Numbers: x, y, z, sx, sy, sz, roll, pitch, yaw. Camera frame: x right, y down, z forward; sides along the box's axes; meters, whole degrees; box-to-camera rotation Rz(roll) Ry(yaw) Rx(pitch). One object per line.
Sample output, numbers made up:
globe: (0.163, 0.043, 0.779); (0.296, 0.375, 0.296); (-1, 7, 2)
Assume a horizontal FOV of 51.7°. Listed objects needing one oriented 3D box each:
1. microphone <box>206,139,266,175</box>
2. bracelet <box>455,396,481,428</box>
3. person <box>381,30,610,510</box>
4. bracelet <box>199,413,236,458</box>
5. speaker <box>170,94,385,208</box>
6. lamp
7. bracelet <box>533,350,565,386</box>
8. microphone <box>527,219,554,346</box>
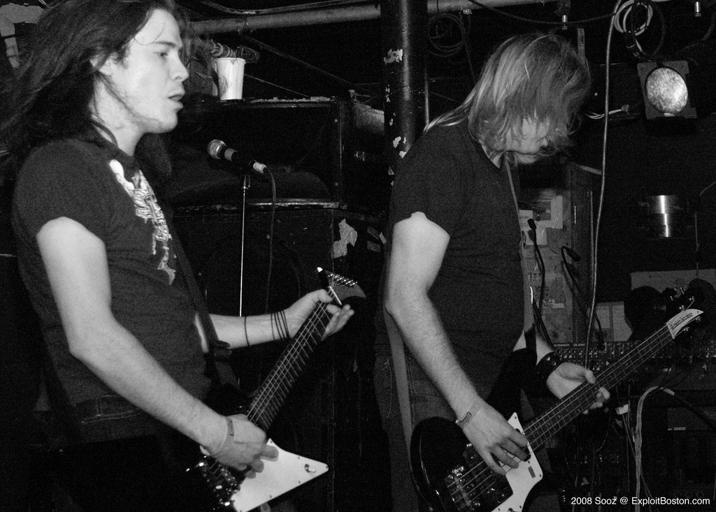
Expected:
microphone: (-0.565, -0.474, 3.387); (0.406, 0.112, 0.105); (19, 41, 39)
bracelet: (0.353, 0.513, 2.442); (0.088, 0.023, 0.081); (-43, -1, -37)
person: (0.468, 0.071, 2.648); (0.572, 1.705, 0.803); (13, 17, 42)
bracelet: (-0.425, 0.548, 2.273); (0.029, 0.118, 0.118); (22, 49, 28)
speaker: (-0.329, -0.592, 4.007); (0.910, 0.445, 0.891); (4, 11, 12)
lamp: (2.112, -1.123, 4.927); (0.507, 0.488, 0.148); (1, 23, 20)
bracelet: (0.756, 0.446, 2.963); (0.133, 0.100, 0.111); (-33, -5, 1)
microphone: (1.256, 0.195, 5.084); (0.102, 0.961, 0.291); (-8, 8, 21)
